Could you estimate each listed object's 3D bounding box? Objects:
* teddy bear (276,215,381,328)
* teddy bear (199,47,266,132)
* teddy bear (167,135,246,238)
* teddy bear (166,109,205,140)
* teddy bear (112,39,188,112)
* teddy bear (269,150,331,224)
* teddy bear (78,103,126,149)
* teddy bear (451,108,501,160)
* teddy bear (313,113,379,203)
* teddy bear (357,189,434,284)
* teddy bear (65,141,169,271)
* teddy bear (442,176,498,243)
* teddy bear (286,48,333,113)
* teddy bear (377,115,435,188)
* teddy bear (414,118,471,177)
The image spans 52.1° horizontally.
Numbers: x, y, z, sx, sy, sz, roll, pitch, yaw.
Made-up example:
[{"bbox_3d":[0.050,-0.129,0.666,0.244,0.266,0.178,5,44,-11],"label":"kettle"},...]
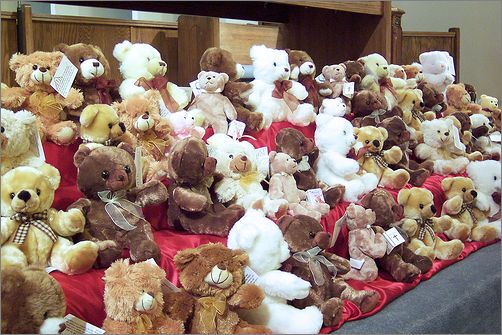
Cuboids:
[{"bbox_3d":[0.466,0.592,3.503,0.649,0.742,0.681,-6,6,27],"label":"teddy bear"},{"bbox_3d":[-0.115,-0.647,4.091,0.492,0.631,0.432,6,19,14],"label":"teddy bear"},{"bbox_3d":[-0.307,0.135,3.380,0.501,0.611,0.297,20,21,33],"label":"teddy bear"},{"bbox_3d":[-0.447,-0.327,3.747,0.200,0.271,0.285,7,19,25],"label":"teddy bear"},{"bbox_3d":[-0.773,-0.661,3.924,0.453,0.585,0.599,5,16,23],"label":"teddy bear"},{"bbox_3d":[0.255,0.124,3.646,0.474,0.553,0.404,-5,-3,23],"label":"teddy bear"},{"bbox_3d":[-0.969,-0.265,3.359,0.270,0.287,0.275,-3,5,11],"label":"teddy bear"},{"bbox_3d":[2.151,-0.318,4.995,0.448,0.539,0.482,-4,13,22],"label":"teddy bear"},{"bbox_3d":[0.739,-0.091,4.061,0.503,0.683,0.443,9,11,40],"label":"teddy bear"},{"bbox_3d":[1.029,0.450,3.842,0.564,0.861,0.546,-8,3,18],"label":"teddy bear"},{"bbox_3d":[-0.828,0.145,3.242,0.743,0.805,0.662,-7,13,-44],"label":"teddy bear"},{"bbox_3d":[1.634,0.325,4.138,0.490,0.587,0.452,-2,-3,45],"label":"teddy bear"},{"bbox_3d":[0.526,-0.766,4.389,0.338,0.518,0.420,-4,21,26],"label":"teddy bear"},{"bbox_3d":[1.279,-0.147,4.517,0.564,0.705,0.467,-2,1,15],"label":"teddy bear"},{"bbox_3d":[1.624,-0.190,4.506,0.529,0.562,0.435,-3,4,-31],"label":"teddy bear"}]
